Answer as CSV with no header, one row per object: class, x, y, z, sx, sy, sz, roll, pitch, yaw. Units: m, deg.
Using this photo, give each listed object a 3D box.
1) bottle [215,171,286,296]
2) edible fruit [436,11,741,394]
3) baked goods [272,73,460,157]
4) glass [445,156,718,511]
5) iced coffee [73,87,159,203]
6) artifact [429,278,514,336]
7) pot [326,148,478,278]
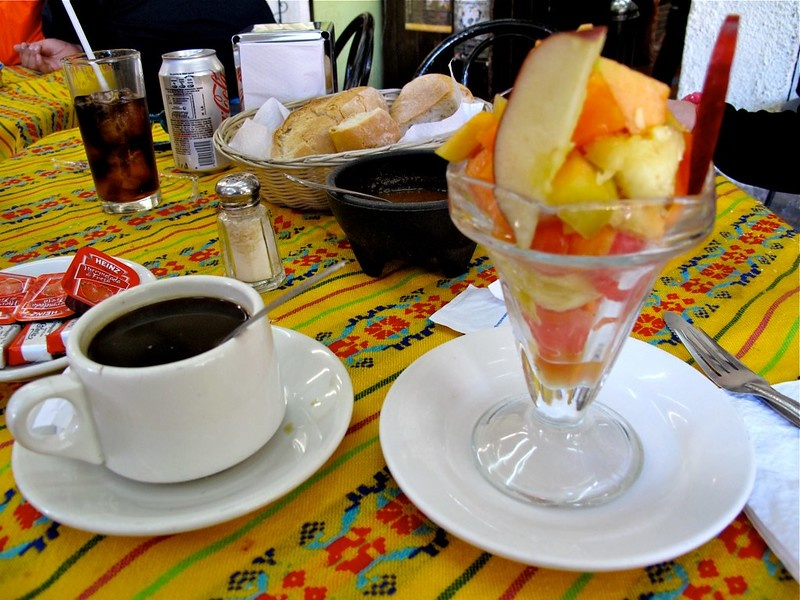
bottle,-0.216,-0.095,0.888,0.089,0.148,0.082,-9,19,3
edible fruit,0.190,-0.146,0.648,0.286,0.410,0.264,11,30,26
baked goods,-0.033,-0.342,1.138,0.372,0.117,0.180,-15,22,-14
glass,0.162,0.017,0.578,0.227,0.299,0.222,-6,26,-8
iced coffee,-0.521,-0.280,1.128,0.138,0.203,0.131,-15,22,-26
artifact,0.096,0.013,0.786,0.082,0.075,0.078,-9,24,20
pot,0.019,-0.132,0.895,0.208,0.127,0.204,-1,41,1
